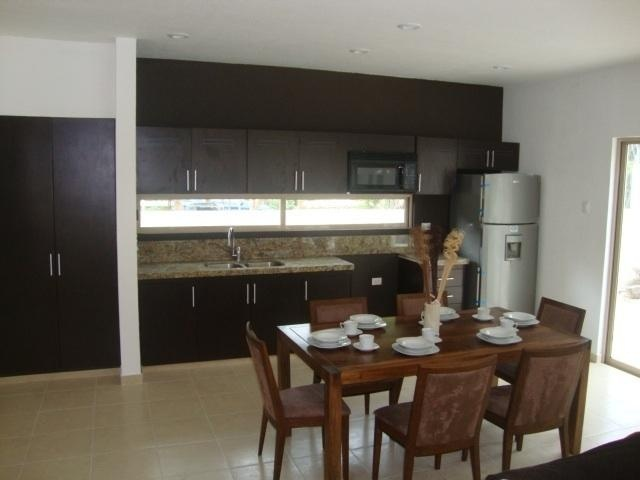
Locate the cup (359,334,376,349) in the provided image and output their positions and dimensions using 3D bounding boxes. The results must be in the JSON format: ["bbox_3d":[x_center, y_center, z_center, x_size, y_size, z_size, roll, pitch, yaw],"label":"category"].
[{"bbox_3d":[0.331,0.706,3.555,0.079,0.076,0.105,-1,1,4],"label":"cup"}]

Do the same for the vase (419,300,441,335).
[{"bbox_3d":[0.847,0.573,3.878,0.136,0.244,0.236,-1,3,-22],"label":"vase"}]

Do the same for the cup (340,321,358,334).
[{"bbox_3d":[0.225,0.662,3.871,0.072,0.078,0.108,-2,1,-20],"label":"cup"}]

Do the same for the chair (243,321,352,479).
[{"bbox_3d":[-0.241,1.154,3.656,0.551,1.084,0.455,-1,11,-9],"label":"chair"}]

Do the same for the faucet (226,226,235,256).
[{"bbox_3d":[-1.015,0.027,5.824,0.094,0.346,0.167,-2,12,-11],"label":"faucet"}]

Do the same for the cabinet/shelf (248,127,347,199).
[{"bbox_3d":[-0.308,-0.856,5.666,1.088,0.691,0.625,-1,2,-19],"label":"cabinet/shelf"}]

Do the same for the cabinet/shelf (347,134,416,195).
[{"bbox_3d":[0.757,-0.820,5.751,0.781,0.498,0.386,1,0,-10],"label":"cabinet/shelf"}]

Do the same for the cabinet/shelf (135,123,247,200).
[{"bbox_3d":[-1.408,-0.765,5.673,1.147,0.729,0.659,0,2,-14],"label":"cabinet/shelf"}]

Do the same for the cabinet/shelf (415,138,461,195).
[{"bbox_3d":[1.401,-0.902,6.179,0.635,0.767,0.244,-1,6,-14],"label":"cabinet/shelf"}]

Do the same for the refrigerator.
[{"bbox_3d":[2.111,0.049,6.168,1.071,1.693,0.692,5,12,21],"label":"refrigerator"}]
